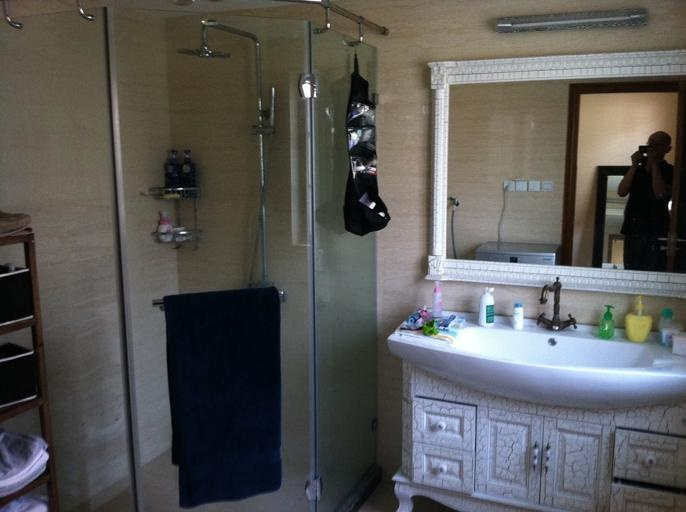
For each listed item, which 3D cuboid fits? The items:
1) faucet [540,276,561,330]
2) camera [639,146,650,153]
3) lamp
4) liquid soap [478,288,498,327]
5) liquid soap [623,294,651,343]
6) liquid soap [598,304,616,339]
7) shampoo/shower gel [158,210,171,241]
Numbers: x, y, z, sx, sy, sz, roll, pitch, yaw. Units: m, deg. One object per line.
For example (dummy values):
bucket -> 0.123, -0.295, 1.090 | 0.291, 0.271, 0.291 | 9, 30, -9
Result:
faucet -> 1.056, 0.238, 3.036 | 0.104, 0.244, 0.149 | 3, 9, 18
camera -> 1.460, -0.519, 2.897 | 0.037, 0.033, 0.009 | 1, 5, 17
lamp -> 1.116, -1.156, 2.925 | 0.703, 0.091, 0.056 | 3, 9, 16
liquid soap -> 0.745, 0.257, 3.088 | 0.078, 0.182, 0.152 | 2, 9, 14
liquid soap -> 1.448, 0.302, 2.915 | 0.118, 0.204, 0.197 | 5, 10, 27
liquid soap -> 1.308, 0.316, 2.951 | 0.076, 0.148, 0.202 | 4, 10, 24
shampoo/shower gel -> -0.811, -0.132, 2.698 | 0.070, 0.120, 0.028 | 0, 1, -11
